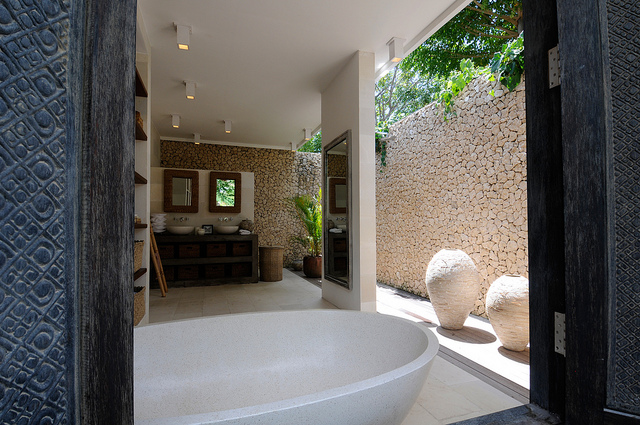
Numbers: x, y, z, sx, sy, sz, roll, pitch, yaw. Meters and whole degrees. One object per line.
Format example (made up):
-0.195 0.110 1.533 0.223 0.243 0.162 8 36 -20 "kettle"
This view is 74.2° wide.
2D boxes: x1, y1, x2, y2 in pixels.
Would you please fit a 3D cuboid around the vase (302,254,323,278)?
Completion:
-0.121 0.968 6.947 0.430 0.351 0.439 1 -6 -2 "vase"

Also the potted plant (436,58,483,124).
1.482 -1.293 4.588 0.228 0.502 0.738 -2 -3 -15 "potted plant"

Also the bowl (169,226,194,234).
-2.107 0.323 6.382 0.355 0.130 0.231 -1 -3 -30 "bowl"

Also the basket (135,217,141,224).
-1.694 0.109 3.928 0.053 0.068 0.095 0 0 -18 "basket"

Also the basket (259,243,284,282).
-0.793 0.816 6.789 0.429 0.660 0.480 5 19 5 "basket"

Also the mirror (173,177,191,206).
-2.255 -0.302 6.795 0.346 0.490 0.043 3 4 27 "mirror"

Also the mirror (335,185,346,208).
0.217 -0.156 4.608 0.008 0.270 0.317 -2 -3 -18 "mirror"

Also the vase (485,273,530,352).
1.438 0.813 3.141 0.236 0.495 0.499 -3 -3 -12 "vase"

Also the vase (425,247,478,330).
1.188 0.726 3.791 0.487 0.702 0.487 6 -4 -14 "vase"
